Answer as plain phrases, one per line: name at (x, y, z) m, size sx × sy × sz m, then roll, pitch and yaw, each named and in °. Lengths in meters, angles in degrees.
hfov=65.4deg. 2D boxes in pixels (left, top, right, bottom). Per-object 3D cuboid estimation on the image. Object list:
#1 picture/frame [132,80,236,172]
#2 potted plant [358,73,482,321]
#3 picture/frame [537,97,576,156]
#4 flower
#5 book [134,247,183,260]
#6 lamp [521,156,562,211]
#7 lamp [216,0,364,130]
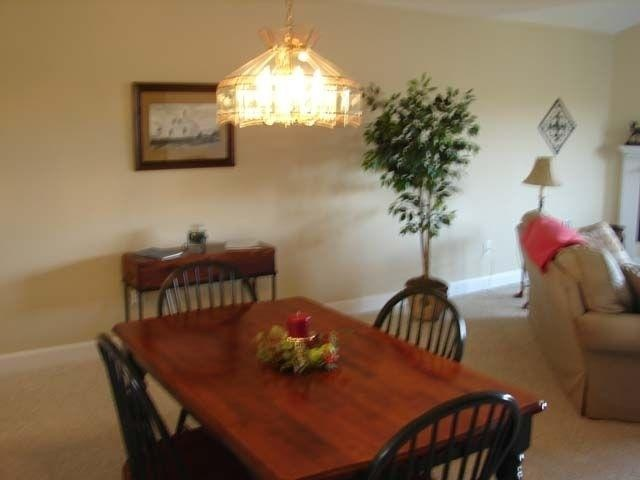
picture/frame at (-1.113, -0.913, 3.920) m, size 0.757 × 0.661 × 0.062 m, roll -4°, pitch 12°, yaw -24°
potted plant at (0.971, -0.442, 4.739) m, size 1.167 × 2.399 × 1.001 m, roll -3°, pitch 6°, yaw -12°
picture/frame at (2.821, -1.397, 6.007) m, size 0.661 × 0.676 × 0.087 m, roll -7°, pitch 11°, yaw -31°
flower at (-0.072, 0.497, 2.415) m, size 0.262 × 0.118 × 0.244 m, roll 4°, pitch 4°, yaw -44°
book at (-1.257, 0.101, 3.975) m, size 0.331 × 0.074 × 0.253 m, roll 1°, pitch 6°, yaw 28°
lamp at (2.289, -0.583, 5.172) m, size 0.331 × 0.538 × 0.878 m, roll 1°, pitch 6°, yaw 25°
lamp at (-0.226, -0.843, 2.702) m, size 0.656 × 0.754 × 0.653 m, roll -6°, pitch 17°, yaw -22°
